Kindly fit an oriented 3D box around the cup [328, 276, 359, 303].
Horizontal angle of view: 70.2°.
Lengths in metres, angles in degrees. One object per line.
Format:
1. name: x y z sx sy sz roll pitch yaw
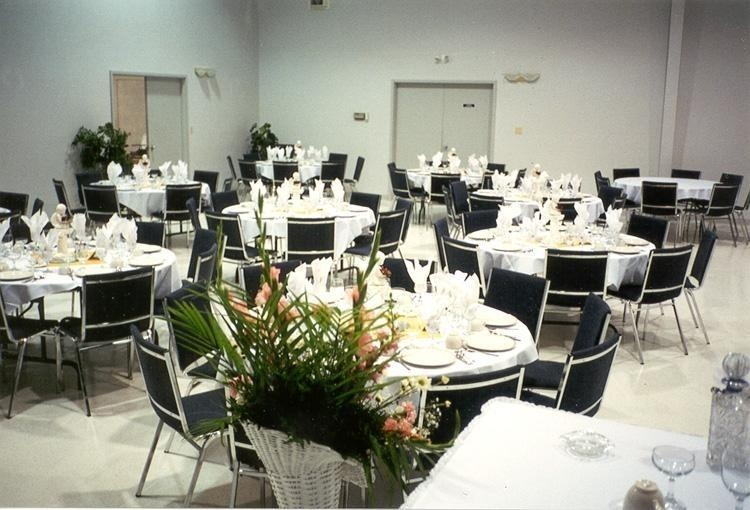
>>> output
1. cup: -0.253 0.247 4.033 0.133 0.143 0.140 1 17 0
